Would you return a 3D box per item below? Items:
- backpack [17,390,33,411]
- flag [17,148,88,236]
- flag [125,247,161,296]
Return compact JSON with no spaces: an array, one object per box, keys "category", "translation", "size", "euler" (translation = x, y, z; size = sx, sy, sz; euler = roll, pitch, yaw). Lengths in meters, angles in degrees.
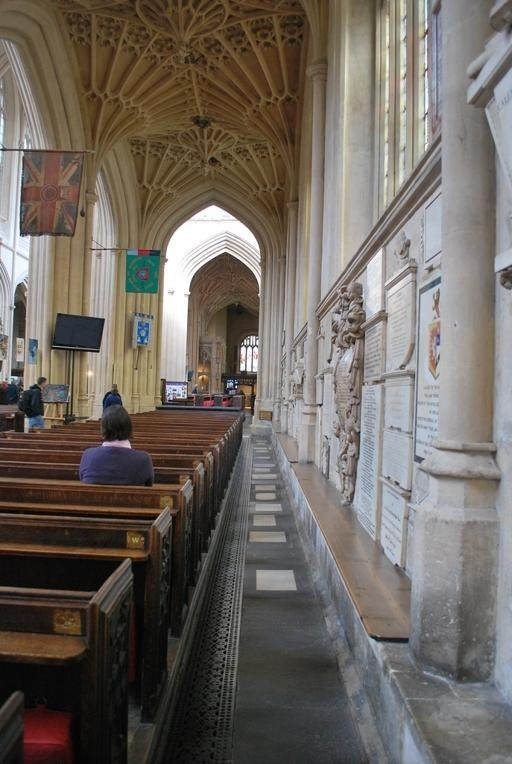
[{"category":"backpack","translation":[-4.279,0.363,8.926],"size":[0.163,0.315,0.418],"euler":[2,-2,-34]},{"category":"flag","translation":[-3.880,-3.612,9.092],"size":[1.212,1.106,0.536],"euler":[1,-1,0]},{"category":"flag","translation":[-3.246,-3.111,13.853],"size":[1.064,1.133,0.889],"euler":[1,-2,17]}]
